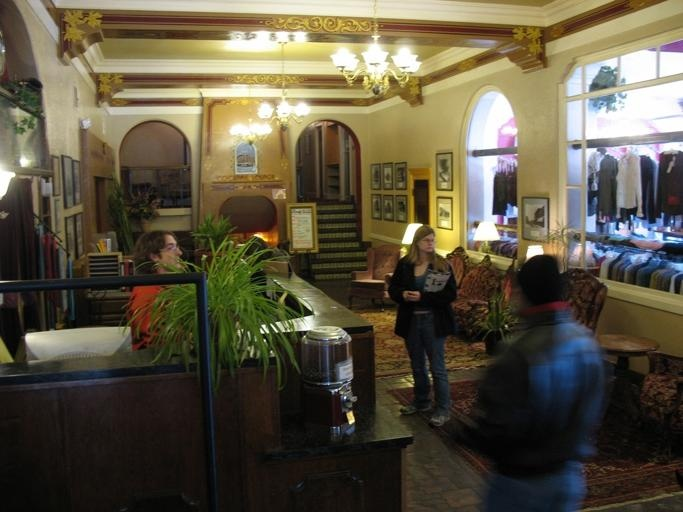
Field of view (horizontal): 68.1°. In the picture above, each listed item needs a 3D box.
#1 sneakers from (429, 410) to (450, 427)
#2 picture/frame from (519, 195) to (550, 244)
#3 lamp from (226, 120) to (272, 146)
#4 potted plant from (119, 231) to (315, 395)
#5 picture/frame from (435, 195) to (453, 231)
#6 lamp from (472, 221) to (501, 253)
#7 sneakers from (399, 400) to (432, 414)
[{"bbox_3d":[1.034,1.753,5.381,0.109,0.102,0.249,-2,-8,27],"label":"sneakers"},{"bbox_3d":[3.263,-0.624,8.510,0.070,0.928,0.871,0,2,-21],"label":"picture/frame"},{"bbox_3d":[-2.466,-3.297,13.419,1.164,0.699,1.071,-2,5,-4],"label":"lamp"},{"bbox_3d":[-0.675,0.291,2.769,0.939,0.643,1.030,2,-5,-26],"label":"potted plant"},{"bbox_3d":[2.317,-0.983,11.374,0.071,0.844,0.861,-2,-1,-20],"label":"picture/frame"},{"bbox_3d":[2.778,-0.378,9.873,0.643,0.602,0.612,-1,5,33],"label":"lamp"},{"bbox_3d":[0.816,1.739,5.789,0.389,0.152,0.135,4,0,-12],"label":"sneakers"}]
